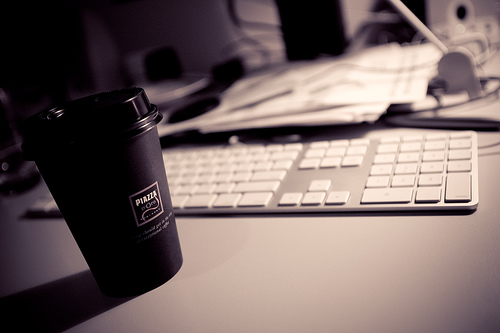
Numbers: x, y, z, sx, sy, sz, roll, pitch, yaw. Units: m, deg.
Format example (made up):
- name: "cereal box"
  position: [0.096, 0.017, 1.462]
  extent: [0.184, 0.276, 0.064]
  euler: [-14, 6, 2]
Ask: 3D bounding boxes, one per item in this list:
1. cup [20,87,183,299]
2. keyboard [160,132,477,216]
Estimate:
- name: "cup"
  position: [-0.172, 0.044, 0.519]
  extent: [0.175, 0.225, 0.173]
  euler: [-14, 11, 3]
- name: "keyboard"
  position: [0.084, 0.002, 0.638]
  extent: [0.533, 0.064, 0.213]
  euler: [-2, 21, 14]
